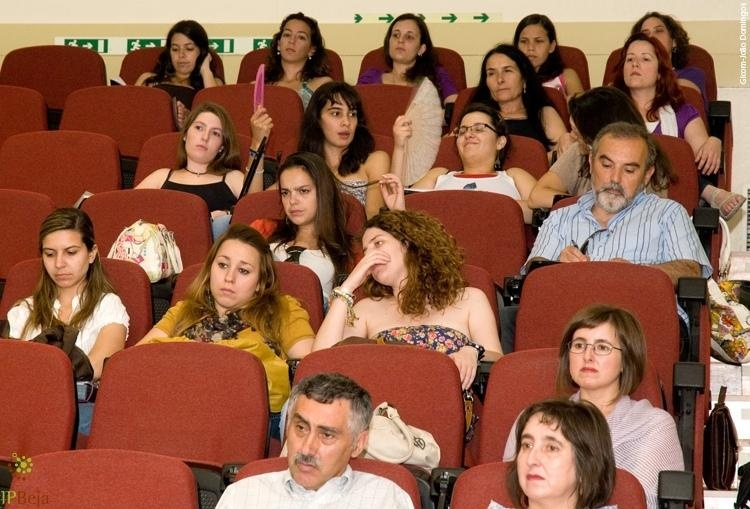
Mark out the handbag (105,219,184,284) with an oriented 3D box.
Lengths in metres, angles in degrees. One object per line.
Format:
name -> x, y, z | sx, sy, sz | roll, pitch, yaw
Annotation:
handbag -> -1.063, -0.022, 3.353 | 0.312, 0.256, 0.316 | 0, -1, 28

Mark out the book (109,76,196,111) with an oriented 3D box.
book -> -1.596, -1.184, 5.170 | 0.480, 0.167, 0.358 | 8, -8, 6

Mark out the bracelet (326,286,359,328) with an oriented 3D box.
bracelet -> -0.133, 0.216, 2.937 | 0.055, 0.148, 0.113 | -7, 3, -18

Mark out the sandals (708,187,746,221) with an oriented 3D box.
sandals -> 1.938, -0.287, 3.891 | 0.217, 0.183, 0.138 | 0, 6, -19

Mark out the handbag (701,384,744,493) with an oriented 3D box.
handbag -> 1.324, 0.736, 2.717 | 0.119, 0.313, 0.209 | 5, 6, 28

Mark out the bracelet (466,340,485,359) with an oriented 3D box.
bracelet -> 0.404, 0.381, 2.852 | 0.075, 0.074, 0.050 | 11, 30, 31

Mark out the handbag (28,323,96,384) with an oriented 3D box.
handbag -> -1.235, 0.381, 2.805 | 0.218, 0.242, 0.085 | -9, -6, 38
